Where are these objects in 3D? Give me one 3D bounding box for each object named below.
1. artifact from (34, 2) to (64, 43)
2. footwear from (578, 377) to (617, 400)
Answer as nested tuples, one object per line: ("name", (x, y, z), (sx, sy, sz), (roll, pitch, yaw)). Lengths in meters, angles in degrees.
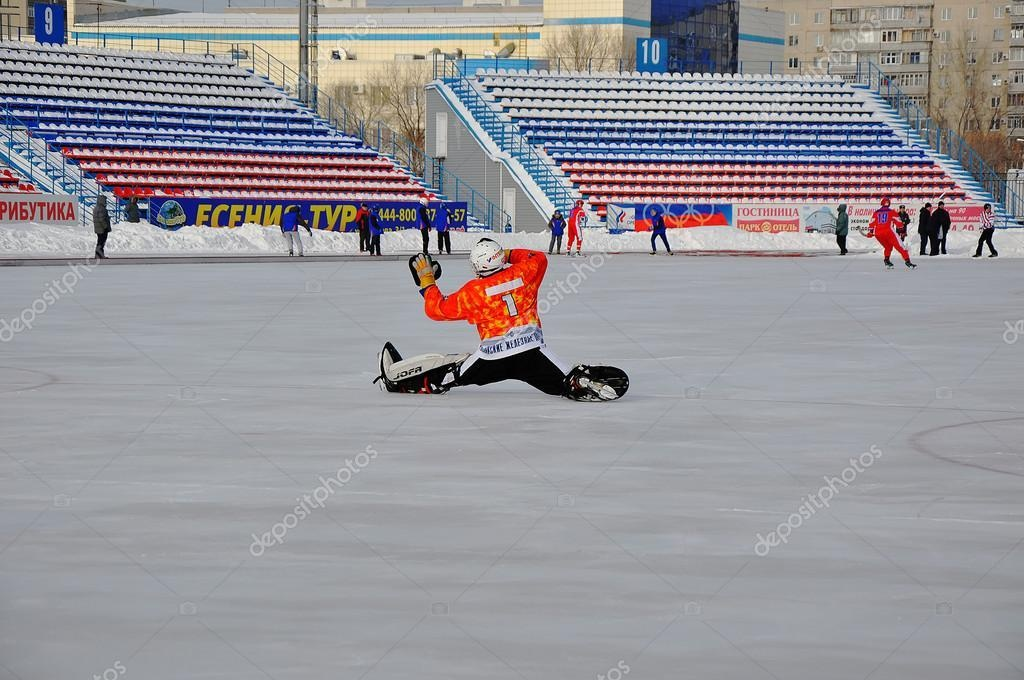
("artifact", (-20.701, -14.456, 102.930), (1.375, 1.855, 2.108), (-5, 13, -12))
("footwear", (2.323, 1.287, 61.662), (0.825, 0.594, 0.289), (4, 21, 5))
